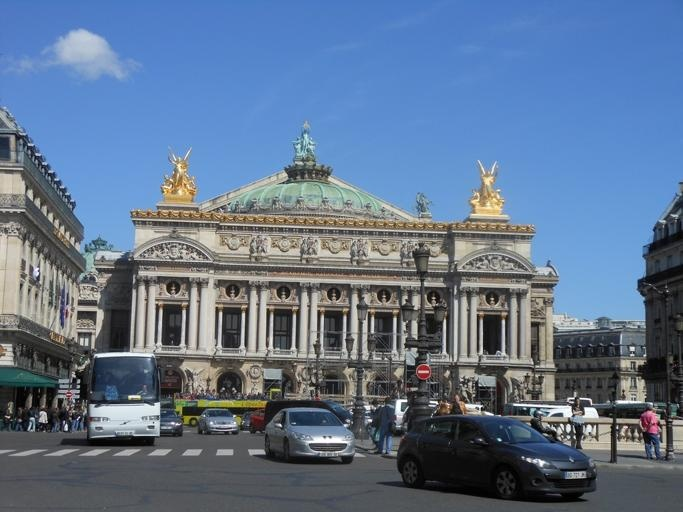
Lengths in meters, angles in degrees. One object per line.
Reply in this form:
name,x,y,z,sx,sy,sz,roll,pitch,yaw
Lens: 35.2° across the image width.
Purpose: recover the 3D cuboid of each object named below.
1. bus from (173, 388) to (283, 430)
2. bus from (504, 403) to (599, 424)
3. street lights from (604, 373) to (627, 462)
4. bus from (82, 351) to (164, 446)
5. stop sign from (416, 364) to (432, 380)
bus,-8.495,10.951,76.857,7.478,1.815,1.823,-2,0,18
bus,10.218,7.631,52.718,4.566,1.580,1.721,0,1,16
street lights,10.821,6.408,43.048,1.019,3.717,0.985,3,-14,4
bus,-10.471,5.861,50.509,3.277,3.989,9.969,1,0,-17
stop sign,3.231,4.549,42.579,0.541,0.637,0.880,0,-15,1
